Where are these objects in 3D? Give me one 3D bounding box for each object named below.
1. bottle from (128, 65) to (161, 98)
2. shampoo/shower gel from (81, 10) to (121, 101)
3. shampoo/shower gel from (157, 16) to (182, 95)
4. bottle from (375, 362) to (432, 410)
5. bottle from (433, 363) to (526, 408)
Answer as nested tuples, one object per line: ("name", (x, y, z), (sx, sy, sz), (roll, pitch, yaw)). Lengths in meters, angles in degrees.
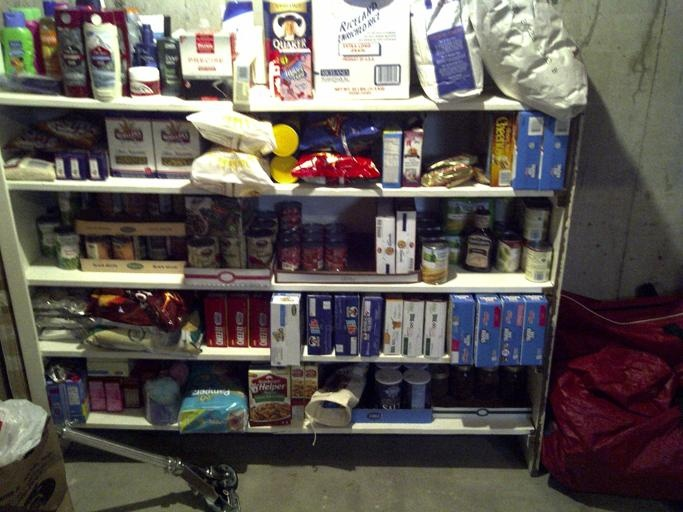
("bottle", (-0.837, -0.739, 2.444), (0.134, 0.112, 0.131), (-7, 21, -31))
("shampoo/shower gel", (-0.991, -0.831, 2.412), (0.149, 0.346, 0.100), (-11, 22, -21))
("shampoo/shower gel", (-0.742, -0.817, 2.491), (0.101, 0.244, 0.074), (-7, 21, -11))
("bottle", (0.309, 0.662, 2.959), (0.237, 0.151, 0.219), (-1, 25, 1))
("bottle", (0.691, 0.670, 3.036), (0.303, 0.070, 0.283), (-1, 11, 0))
